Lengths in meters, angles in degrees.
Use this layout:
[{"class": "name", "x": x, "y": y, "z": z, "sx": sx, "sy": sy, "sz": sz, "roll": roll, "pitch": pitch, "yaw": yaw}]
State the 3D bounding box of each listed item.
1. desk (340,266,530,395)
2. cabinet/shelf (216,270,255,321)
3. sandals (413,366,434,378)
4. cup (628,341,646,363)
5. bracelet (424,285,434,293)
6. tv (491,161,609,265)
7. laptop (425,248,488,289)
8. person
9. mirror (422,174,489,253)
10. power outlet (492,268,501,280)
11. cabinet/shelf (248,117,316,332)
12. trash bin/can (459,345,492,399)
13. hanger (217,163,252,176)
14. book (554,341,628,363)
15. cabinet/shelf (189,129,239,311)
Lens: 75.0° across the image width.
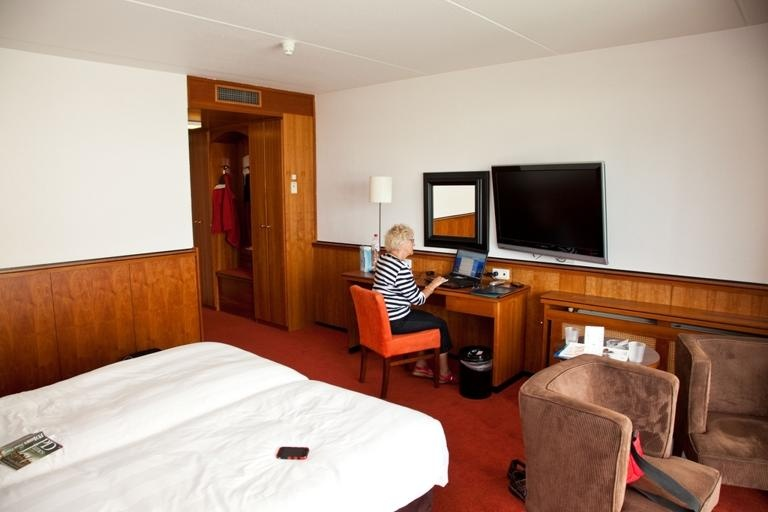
[{"class": "desk", "x": 0.570, "y": 0.711, "z": 5.784, "sx": 2.122, "sy": 1.165, "sz": 0.870, "roll": 10, "pitch": 20, "yaw": 38}, {"class": "cabinet/shelf", "x": -2.247, "y": 0.586, "z": 7.541, "sx": 0.582, "sy": 0.504, "sz": 0.344, "roll": 10, "pitch": 16, "yaw": 35}, {"class": "sandals", "x": 0.405, "y": 1.221, "z": 5.312, "sx": 0.195, "sy": 0.081, "sz": 0.094, "roll": 0, "pitch": 6, "yaw": 9}, {"class": "cup", "x": 1.976, "y": 0.746, "z": 3.942, "sx": 0.135, "sy": 0.150, "sz": 0.145, "roll": 0, "pitch": -1, "yaw": 0}, {"class": "bracelet", "x": 0.445, "y": 0.333, "z": 5.020, "sx": 0.075, "sy": 0.078, "sz": 0.074, "roll": 2, "pitch": -31, "yaw": 49}, {"class": "tv", "x": 1.623, "y": -0.435, "z": 4.813, "sx": 0.105, "sy": 0.780, "sz": 0.986, "roll": -16, "pitch": 15, "yaw": -40}, {"class": "laptop", "x": 0.761, "y": 0.114, "z": 5.264, "sx": 0.588, "sy": 0.343, "sz": 0.559, "roll": 5, "pitch": 12, "yaw": 45}, {"class": "person", "x": 0.313, "y": 0.488, "z": 5.159, "sx": 0.931, "sy": 1.601, "sz": 0.688, "roll": -2, "pitch": 10, "yaw": -16}, {"class": "mirror", "x": 0.815, "y": -0.494, "z": 5.576, "sx": 0.796, "sy": 0.828, "sz": 0.055, "roll": 7, "pitch": 11, "yaw": 39}, {"class": "power outlet", "x": 1.190, "y": 0.191, "z": 5.332, "sx": 0.095, "sy": 0.107, "sz": 0.024, "roll": -8, "pitch": 1, "yaw": 44}, {"class": "cabinet/shelf", "x": -1.330, "y": -0.441, "z": 6.723, "sx": 0.902, "sy": 2.794, "sz": 0.508, "roll": -3, "pitch": 8, "yaw": -10}, {"class": "trash bin/can", "x": 0.911, "y": 1.159, "z": 4.991, "sx": 0.356, "sy": 0.415, "sz": 0.365, "roll": -2, "pitch": -4, "yaw": 30}, {"class": "hanger", "x": -2.362, "y": -1.320, "z": 7.741, "sx": 0.333, "sy": 0.141, "sz": 0.332, "roll": -2, "pitch": 7, "yaw": -18}, {"class": "book", "x": 1.663, "y": 0.754, "z": 3.985, "sx": 0.269, "sy": 0.070, "sz": 0.285, "roll": -9, "pitch": 13, "yaw": -34}, {"class": "cabinet/shelf", "x": -2.725, "y": -0.599, "z": 7.833, "sx": 0.681, "sy": 2.665, "sz": 0.497, "roll": 4, "pitch": 10, "yaw": 38}]
